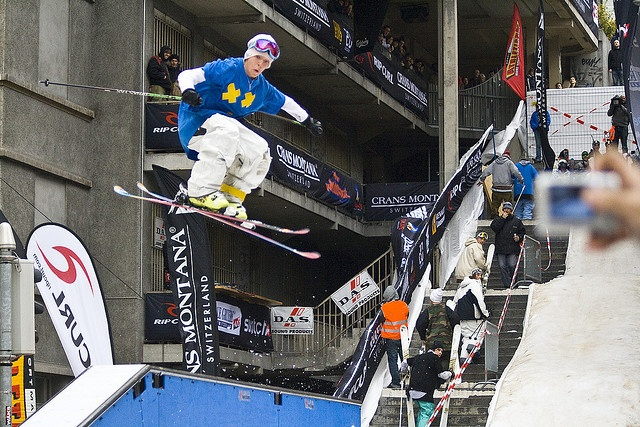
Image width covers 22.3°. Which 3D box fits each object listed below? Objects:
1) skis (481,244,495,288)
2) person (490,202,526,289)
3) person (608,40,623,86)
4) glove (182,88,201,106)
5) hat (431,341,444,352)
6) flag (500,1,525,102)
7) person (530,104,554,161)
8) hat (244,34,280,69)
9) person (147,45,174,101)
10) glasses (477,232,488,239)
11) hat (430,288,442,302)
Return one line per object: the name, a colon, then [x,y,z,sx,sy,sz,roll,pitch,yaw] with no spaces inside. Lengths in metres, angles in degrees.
skis: [4.128,1.210,39.682,0.293,1.242,0.213,6,-2,43]
person: [4.551,0.786,39.432,0.795,2.088,0.734,-1,-2,6]
person: [8.898,-4.654,49.052,0.422,1.425,2.336,-1,-2,10]
glove: [-2.511,-2.253,31.406,0.350,0.120,0.256,0,-50,28]
hat: [2.499,2.848,34.814,0.240,0.221,0.179,1,-5,1]
flag: [5.587,-4.734,47.054,0.579,2.704,1.424,-1,-2,7]
person: [6.458,-2.240,47.866,0.522,1.536,2.133,-1,-2,8]
hat: [-1.184,-3.238,32.300,0.536,0.548,0.688,37,-18,-13]
person: [-3.950,-3.519,39.953,0.663,1.205,0.429,0,-2,-21]
glasses: [3.866,0.507,38.844,0.245,0.142,0.192,-20,-22,40]
hat: [2.540,1.875,36.226,0.247,0.288,0.315,10,-30,12]
